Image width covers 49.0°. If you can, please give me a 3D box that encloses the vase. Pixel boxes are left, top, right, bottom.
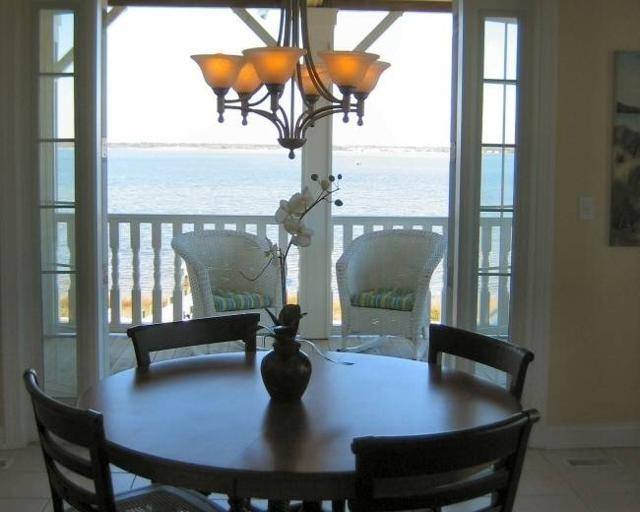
[{"bbox_3d":[-0.113,0.377,2.392,0.178,0.215,0.184,-5,9,-32],"label":"vase"}]

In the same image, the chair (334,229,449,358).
[{"bbox_3d":[0.471,0.182,4.927,0.791,0.991,0.847,1,4,21],"label":"chair"}]
